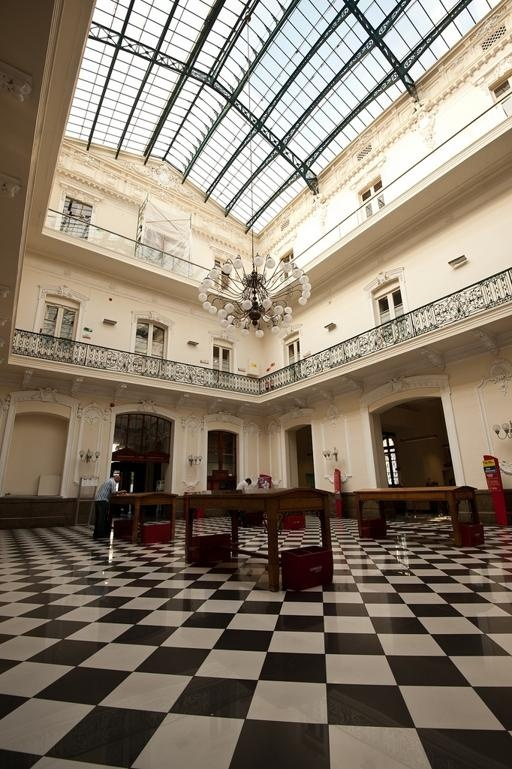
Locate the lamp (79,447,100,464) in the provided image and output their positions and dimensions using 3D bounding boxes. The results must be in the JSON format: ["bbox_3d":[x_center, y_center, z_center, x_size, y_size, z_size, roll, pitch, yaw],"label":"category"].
[{"bbox_3d":[-4.139,1.801,10.943,0.110,0.302,0.371,-15,-20,37],"label":"lamp"}]

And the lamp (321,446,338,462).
[{"bbox_3d":[1.985,2.018,12.297,0.194,0.402,0.614,4,-16,-23],"label":"lamp"}]

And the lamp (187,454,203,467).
[{"bbox_3d":[-1.838,2.316,13.179,0.277,0.409,0.354,-12,-15,40],"label":"lamp"}]

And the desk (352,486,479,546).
[{"bbox_3d":[2.717,2.163,7.453,1.713,0.819,3.664,-9,-17,23],"label":"desk"}]

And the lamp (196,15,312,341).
[{"bbox_3d":[0.144,-4.240,9.753,1.666,6.095,1.866,-2,14,-41],"label":"lamp"}]
